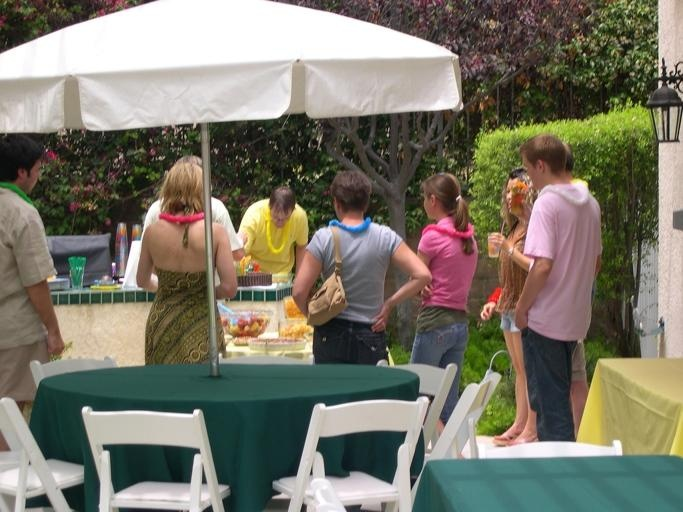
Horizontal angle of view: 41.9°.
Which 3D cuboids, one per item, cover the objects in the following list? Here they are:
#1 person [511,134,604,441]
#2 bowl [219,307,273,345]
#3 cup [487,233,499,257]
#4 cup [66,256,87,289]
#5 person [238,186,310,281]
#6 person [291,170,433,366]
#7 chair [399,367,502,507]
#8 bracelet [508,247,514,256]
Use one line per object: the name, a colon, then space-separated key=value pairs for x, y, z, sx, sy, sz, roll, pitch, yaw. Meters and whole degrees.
person: x=1.491 y=0.214 z=6.164 sx=0.547 sy=2.081 sz=0.386 roll=1 pitch=5 yaw=19
bowl: x=-0.823 y=0.557 z=7.392 sx=0.270 sy=0.206 sz=0.282 roll=-2 pitch=-8 yaw=0
cup: x=1.229 y=-0.091 z=7.202 sx=0.077 sy=0.198 sz=0.282 roll=0 pitch=6 yaw=7
cup: x=-2.797 y=0.173 z=9.432 sx=0.232 sy=0.523 sz=0.275 roll=1 pitch=0 yaw=-14
person: x=-0.714 y=-0.208 z=9.402 sx=0.608 sy=0.975 sz=1.512 roll=-3 pitch=-29 yaw=-10
person: x=0.119 y=0.451 z=6.718 sx=0.798 sy=2.335 sz=0.692 roll=4 pitch=22 yaw=5
chair: x=0.713 y=1.113 z=5.702 sx=0.548 sy=1.049 sz=0.565 roll=-1 pitch=-2 yaw=21
bracelet: x=1.352 y=-0.038 z=7.117 sx=0.040 sy=0.055 sz=0.011 roll=-2 pitch=-9 yaw=40
